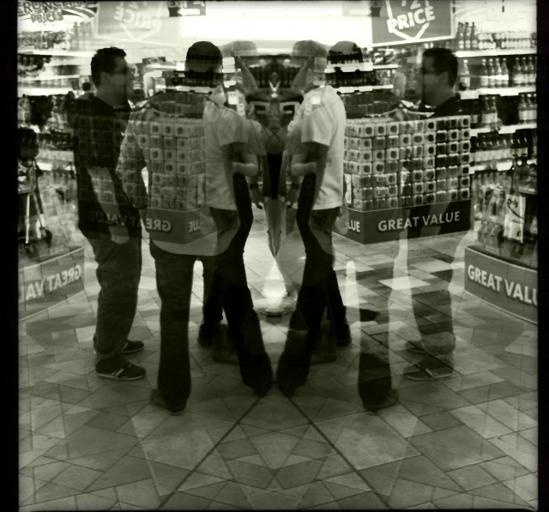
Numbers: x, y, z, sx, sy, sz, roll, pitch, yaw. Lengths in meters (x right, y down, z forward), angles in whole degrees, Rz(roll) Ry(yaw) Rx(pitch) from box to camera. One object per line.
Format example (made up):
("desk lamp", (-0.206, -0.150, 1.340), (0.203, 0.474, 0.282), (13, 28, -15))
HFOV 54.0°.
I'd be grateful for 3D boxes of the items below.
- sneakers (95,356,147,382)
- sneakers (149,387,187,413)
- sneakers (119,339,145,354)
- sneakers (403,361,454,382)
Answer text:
("sneakers", (-0.819, 0.599, 2.891), (0.257, 0.108, 0.122), (4, 11, -12))
("sneakers", (-0.524, 0.721, 2.678), (0.153, 0.056, 0.108), (27, -1, 8))
("sneakers", (-0.819, 0.521, 3.109), (0.050, 0.054, 0.149), (4, 8, 28))
("sneakers", (0.846, 0.634, 2.984), (0.281, 0.103, 0.110), (-2, 11, -14))
